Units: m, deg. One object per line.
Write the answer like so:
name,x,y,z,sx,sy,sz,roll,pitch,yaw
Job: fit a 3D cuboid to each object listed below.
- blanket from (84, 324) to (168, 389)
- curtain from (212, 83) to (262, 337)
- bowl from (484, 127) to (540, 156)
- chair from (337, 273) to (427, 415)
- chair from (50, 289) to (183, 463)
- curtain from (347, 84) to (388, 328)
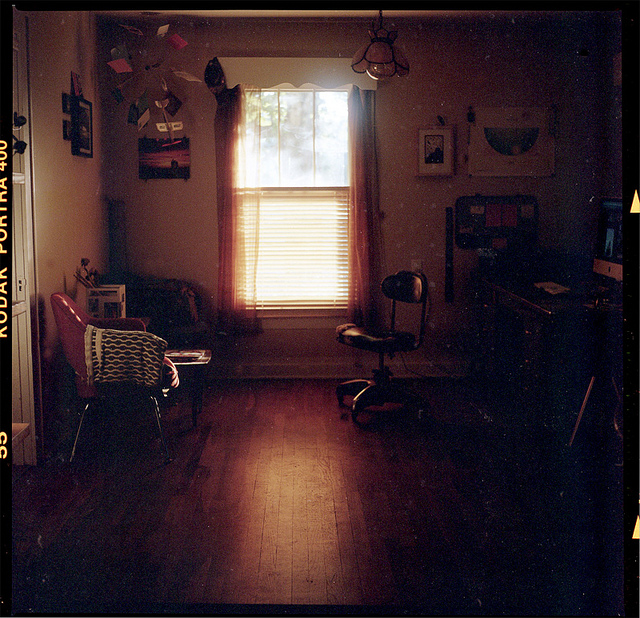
blanket,-0.810,0.205,2.495,0.246,0.298,0.116,2,1,-1
curtain,-0.468,-0.565,3.483,0.276,1.452,0.176,-1,12,-9
bowl,1.127,-0.983,3.481,0.332,0.162,0.056,-3,12,-14
chair,0.345,0.185,3.148,0.376,0.728,0.407,3,9,11
chair,-0.902,0.295,2.705,0.551,0.747,0.595,4,3,44
curtain,0.285,-0.594,3.465,0.251,1.367,0.166,1,12,3
